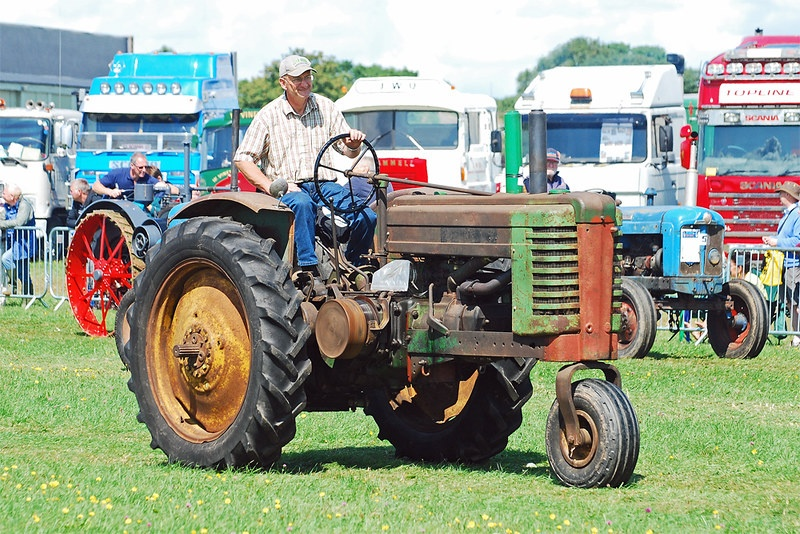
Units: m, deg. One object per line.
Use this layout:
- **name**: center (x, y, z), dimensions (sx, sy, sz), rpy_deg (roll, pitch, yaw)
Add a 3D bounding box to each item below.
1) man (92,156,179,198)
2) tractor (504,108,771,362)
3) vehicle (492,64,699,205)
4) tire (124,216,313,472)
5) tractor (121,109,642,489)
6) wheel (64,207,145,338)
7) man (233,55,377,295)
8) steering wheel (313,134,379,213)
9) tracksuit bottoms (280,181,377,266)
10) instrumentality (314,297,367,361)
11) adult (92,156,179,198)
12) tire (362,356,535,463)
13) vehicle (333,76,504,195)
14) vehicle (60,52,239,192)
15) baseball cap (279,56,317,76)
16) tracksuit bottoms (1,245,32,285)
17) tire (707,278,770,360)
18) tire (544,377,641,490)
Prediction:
- **man**: center (-4.710, -1.499, 17.606), dimensions (0.853, 0.617, 1.145), rpy_deg (-4, 10, -39)
- **tractor**: center (2.580, -0.141, 15.625), dimensions (4.642, 3.509, 2.685), rpy_deg (0, 2, 45)
- **vehicle**: center (4.705, -2.404, 23.034), dimensions (3.254, 3.858, 6.278), rpy_deg (0, 5, 21)
- **tire**: center (-1.518, 0.667, 8.946), dimensions (0.765, 2.109, 1.898), rpy_deg (-2, 5, -44)
- **tractor**: center (-0.315, 0.472, 8.972), dimensions (3.807, 2.321, 2.827), rpy_deg (-2, -1, 39)
- **wheel**: center (-4.683, 0.072, 16.450), dimensions (1.566, 1.809, 1.701), rpy_deg (2, 6, 0)
- **man**: center (-0.790, -0.916, 9.703), dimensions (1.141, 2.166, 1.195), rpy_deg (-13, 13, -36)
- **steering wheel**: center (-0.531, -0.976, 9.946), dimensions (0.152, 0.701, 0.669), rpy_deg (15, 4, -11)
- **tracksuit bottoms**: center (-0.637, -0.283, 9.487), dimensions (0.679, 0.772, 0.705), rpy_deg (11, 38, -4)
- **instrumentality**: center (-0.505, 0.526, 8.808), dimensions (0.479, 0.487, 0.172), rpy_deg (3, 5, 28)
- **adult**: center (-4.572, -1.466, 17.477), dimensions (0.853, 0.617, 1.145), rpy_deg (-4, 10, -39)
- **tire**: center (0.731, 1.520, 9.926), dimensions (1.671, 0.328, 1.642), rpy_deg (-21, -9, -46)
- **vehicle**: center (0.589, -3.265, 22.047), dimensions (2.641, 2.776, 4.111), rpy_deg (0, -2, 6)
- **vehicle**: center (-5.692, -4.130, 25.579), dimensions (4.918, 3.309, 2.730), rpy_deg (-4, -2, -3)
- **baseball cap**: center (-0.968, -1.900, 9.759), dimensions (0.303, 0.217, 0.252), rpy_deg (0, 5, -7)
- **tracksuit bottoms**: center (-7.001, -0.053, 19.040), dimensions (0.593, 0.717, 0.260), rpy_deg (2, 4, 23)
- **tire**: center (4.954, 0.785, 15.276), dimensions (0.381, 1.301, 1.043), rpy_deg (-2, 0, -32)
- **tire**: center (1.559, 1.393, 8.421), dimensions (0.359, 0.809, 0.783), rpy_deg (-10, 9, -43)
